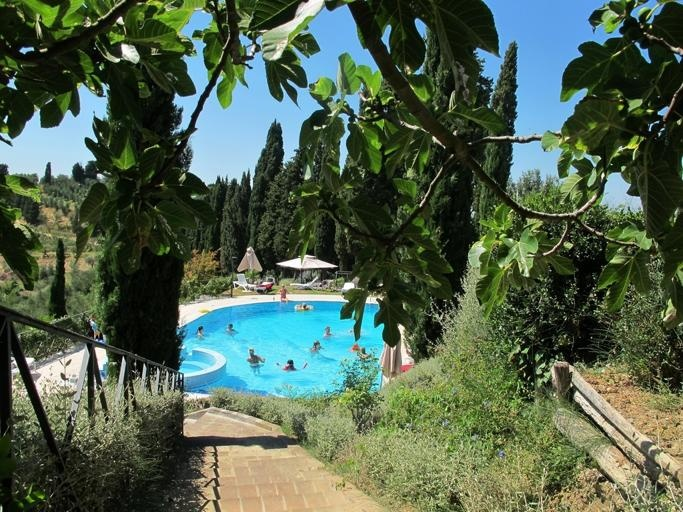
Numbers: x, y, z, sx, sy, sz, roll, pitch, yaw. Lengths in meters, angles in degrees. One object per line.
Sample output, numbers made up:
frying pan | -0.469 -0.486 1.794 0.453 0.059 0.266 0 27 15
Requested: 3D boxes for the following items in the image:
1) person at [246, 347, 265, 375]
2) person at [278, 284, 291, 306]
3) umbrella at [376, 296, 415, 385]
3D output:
person | -2.834 3.478 14.856 0.572 0.375 0.877 -14 22 -23
person | -2.949 2.000 23.222 0.598 1.298 0.420 -4 -14 -18
umbrella | 1.211 2.168 9.764 0.724 1.318 1.513 6 -10 7
